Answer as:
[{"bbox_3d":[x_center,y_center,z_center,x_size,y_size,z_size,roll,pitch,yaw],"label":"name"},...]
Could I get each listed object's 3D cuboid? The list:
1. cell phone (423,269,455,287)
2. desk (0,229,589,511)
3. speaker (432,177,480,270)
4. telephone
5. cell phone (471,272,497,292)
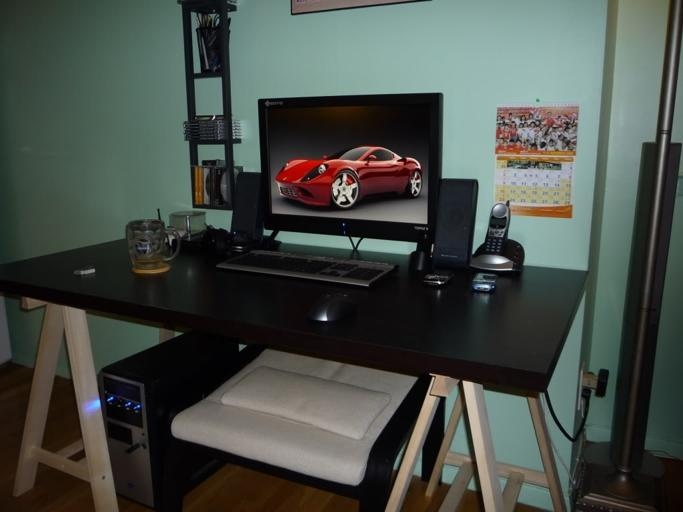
[{"bbox_3d":[0.337,0.072,1.829,0.050,0.023,0.090,7,17,25],"label":"cell phone"},{"bbox_3d":[-0.222,0.507,1.989,2.033,0.955,0.838,8,17,25],"label":"desk"},{"bbox_3d":[0.425,-0.123,1.972,0.147,0.361,0.081,6,-1,25],"label":"speaker"},{"bbox_3d":[0.579,-0.065,1.942,0.196,0.307,0.247,2,6,29],"label":"telephone"},{"bbox_3d":[0.488,0.079,1.787,0.054,0.028,0.074,5,21,20],"label":"cell phone"}]
